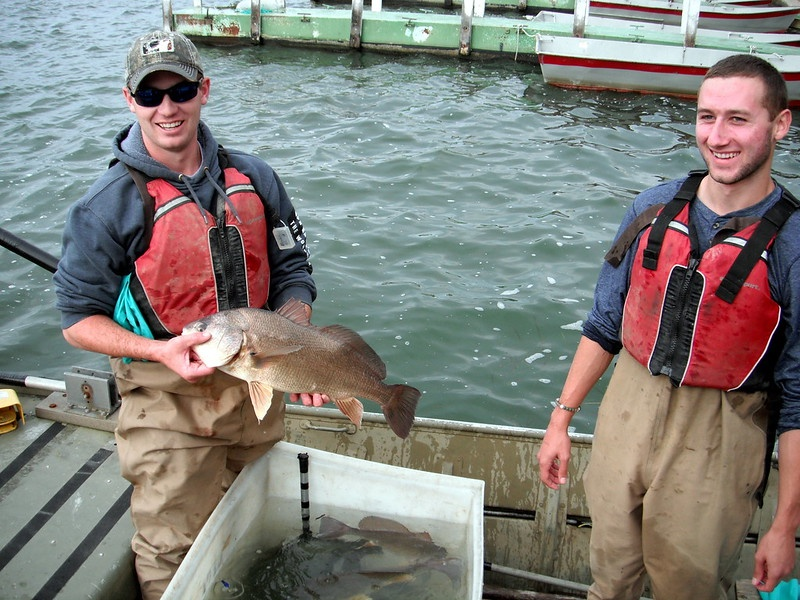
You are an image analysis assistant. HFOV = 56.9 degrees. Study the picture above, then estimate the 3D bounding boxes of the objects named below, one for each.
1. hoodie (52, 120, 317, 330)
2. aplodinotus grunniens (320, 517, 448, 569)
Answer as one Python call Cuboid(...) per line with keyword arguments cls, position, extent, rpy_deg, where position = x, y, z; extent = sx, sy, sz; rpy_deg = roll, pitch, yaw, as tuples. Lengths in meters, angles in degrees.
Cuboid(cls="hoodie", position=(-1.202, -0.366, 4.302), extent=(1.585, 1.267, 0.767), rpy_deg=(-17, 32, -36))
Cuboid(cls="aplodinotus grunniens", position=(-0.071, 1.336, 4.206), extent=(0.764, 0.141, 0.234), rpy_deg=(7, 24, 22))
